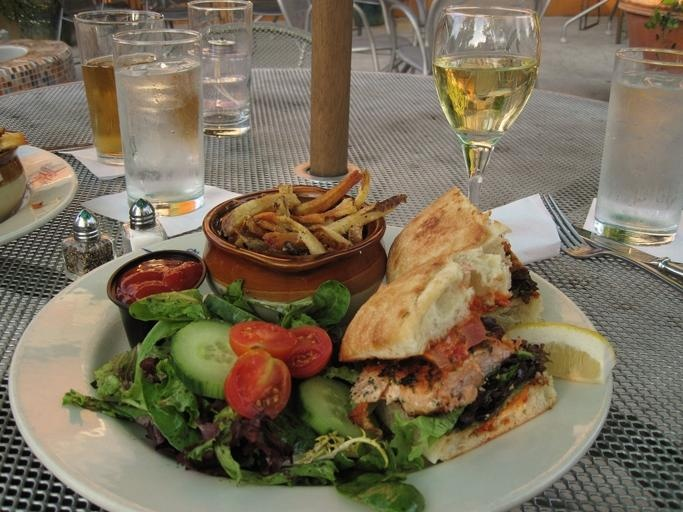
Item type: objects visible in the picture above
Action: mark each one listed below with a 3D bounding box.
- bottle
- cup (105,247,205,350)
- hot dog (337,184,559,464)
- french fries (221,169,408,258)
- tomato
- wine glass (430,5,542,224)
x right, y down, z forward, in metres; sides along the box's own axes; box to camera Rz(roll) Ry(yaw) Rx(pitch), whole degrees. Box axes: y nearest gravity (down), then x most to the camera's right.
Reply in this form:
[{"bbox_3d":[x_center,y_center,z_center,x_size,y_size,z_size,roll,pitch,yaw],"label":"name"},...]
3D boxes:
[{"bbox_3d":[-0.440,-0.041,0.926,0.178,0.151,0.179,2,9,10],"label":"bottle"},{"bbox_3d":[-0.296,0.052,0.770,0.161,0.097,0.151,0,20,0],"label":"cup"},{"bbox_3d":[0.136,0.087,0.708,0.268,0.141,0.361,-23,36,-5],"label":"hot dog"},{"bbox_3d":[-0.081,-0.119,0.860,0.370,0.146,0.242,-9,17,-33],"label":"french fries"},{"bbox_3d":[-0.083,0.121,0.606,0.119,0.092,0.165,-8,18,-35],"label":"tomato"},{"bbox_3d":[0.257,-0.275,1.002,0.174,0.468,0.170,-7,24,-19],"label":"wine glass"}]
